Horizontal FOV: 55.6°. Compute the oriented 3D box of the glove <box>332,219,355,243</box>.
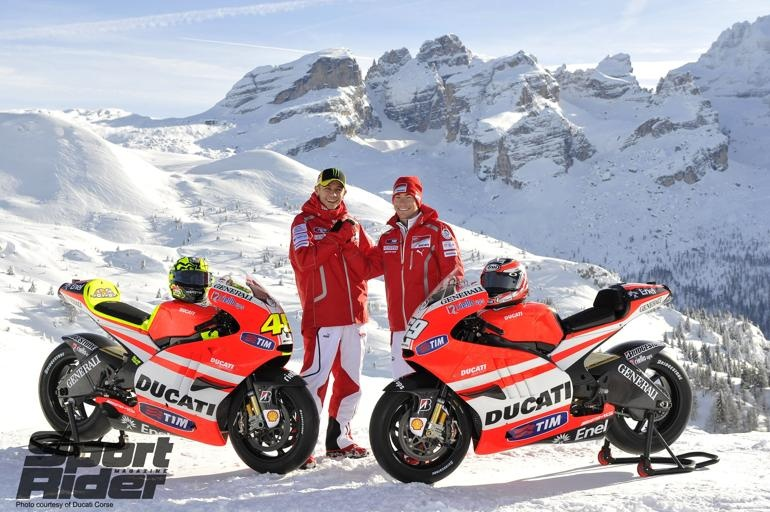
[{"bbox_3d":[-0.644,-0.368,11.214,0.262,0.179,0.337,42,38,6],"label":"glove"}]

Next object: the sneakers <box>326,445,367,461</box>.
[{"bbox_3d":[-0.561,2.996,11.088,0.679,0.214,0.206,-1,-1,-1],"label":"sneakers"}]

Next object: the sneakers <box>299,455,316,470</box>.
[{"bbox_3d":[-1.091,3.047,10.666,0.209,0.091,0.257,10,37,27],"label":"sneakers"}]

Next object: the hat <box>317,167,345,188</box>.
[{"bbox_3d":[-0.852,-1.207,11.299,0.434,0.332,0.412,-5,32,-3],"label":"hat"}]

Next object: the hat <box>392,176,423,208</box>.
[{"bbox_3d":[0.252,-1.019,11.581,0.535,0.435,0.544,-1,-6,15],"label":"hat"}]
